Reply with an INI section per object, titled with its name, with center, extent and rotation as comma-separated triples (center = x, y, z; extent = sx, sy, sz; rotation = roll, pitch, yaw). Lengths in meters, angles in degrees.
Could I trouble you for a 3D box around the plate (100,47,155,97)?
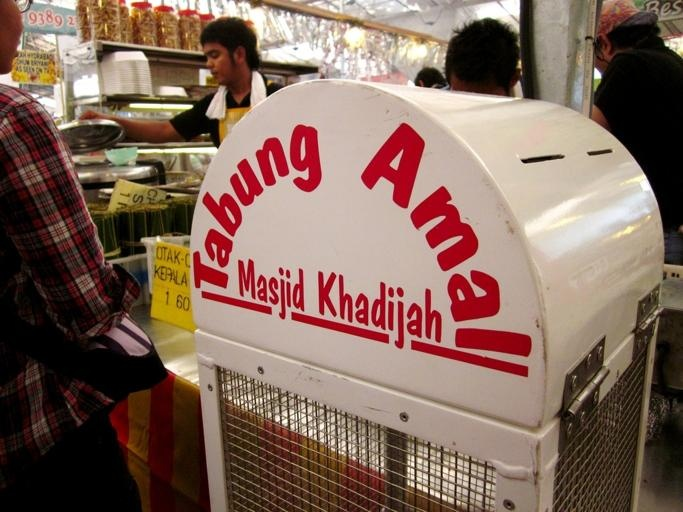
[plate]
center = -1.789, -1.501, 4.487
extent = 0.368, 0.363, 0.367
rotation = -5, 18, -13
